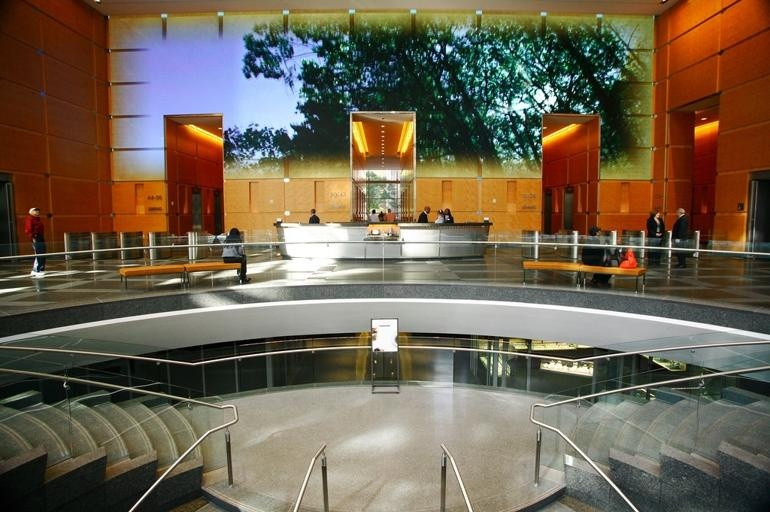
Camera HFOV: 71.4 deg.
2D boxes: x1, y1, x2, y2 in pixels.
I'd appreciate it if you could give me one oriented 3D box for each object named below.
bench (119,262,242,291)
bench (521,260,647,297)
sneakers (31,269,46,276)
[{"bbox_3d":[-5.349,0.464,13.974,2.814,0.661,0.814,-1,0,-28],"label":"bench"},{"bbox_3d":[5.135,0.529,13.852,2.900,0.761,0.848,-1,0,24],"label":"bench"},{"bbox_3d":[-8.339,0.412,12.902,0.276,0.158,0.325,-2,0,-33],"label":"sneakers"}]
